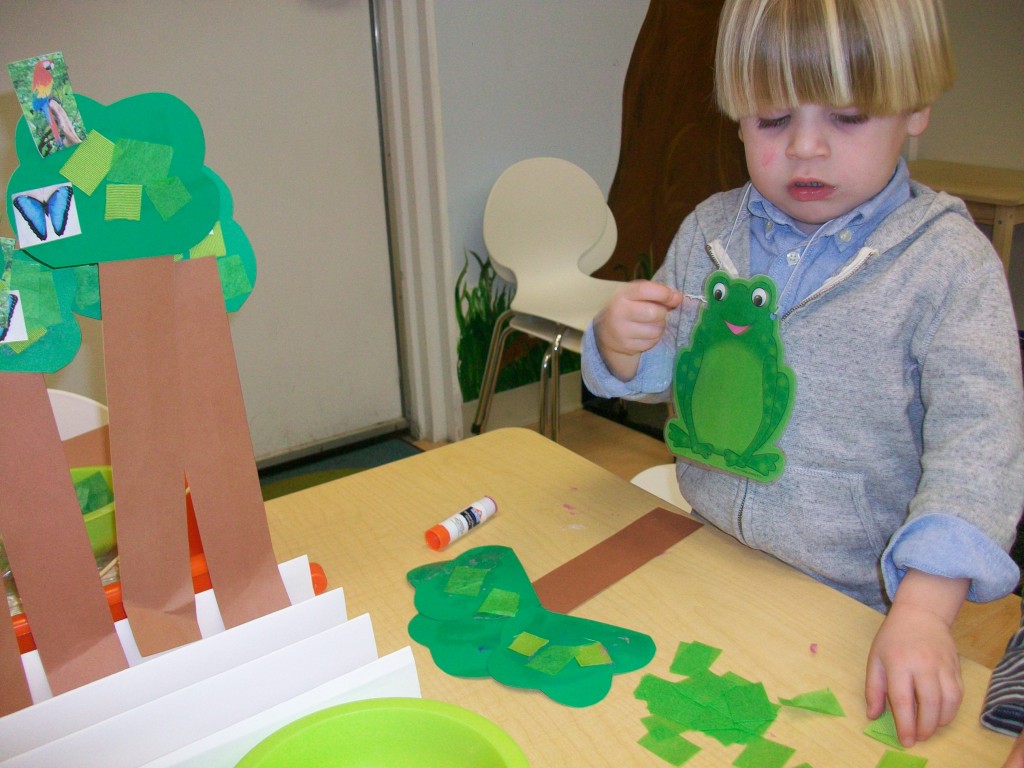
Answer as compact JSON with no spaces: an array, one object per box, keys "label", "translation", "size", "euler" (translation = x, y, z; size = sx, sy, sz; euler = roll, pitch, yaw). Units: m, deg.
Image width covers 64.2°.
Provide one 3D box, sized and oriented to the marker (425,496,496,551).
[{"label":"marker","translation":[-0.056,0.159,1.040],"size":[0.035,0.036,0.116],"euler":[36,46,29]}]
